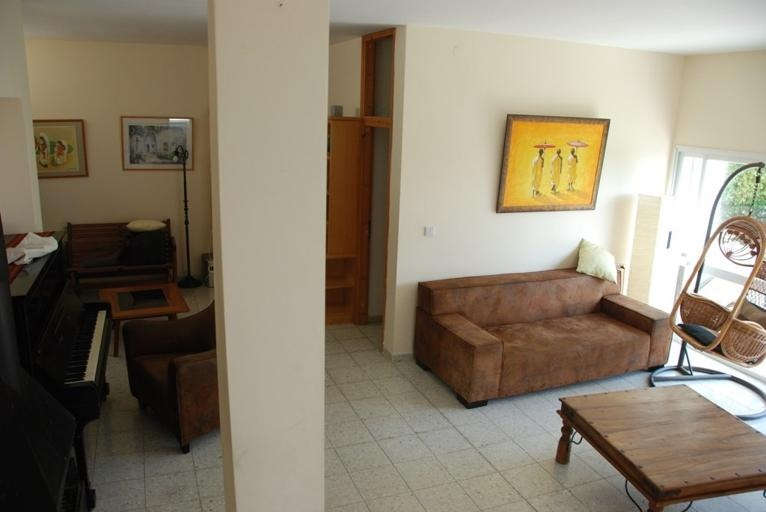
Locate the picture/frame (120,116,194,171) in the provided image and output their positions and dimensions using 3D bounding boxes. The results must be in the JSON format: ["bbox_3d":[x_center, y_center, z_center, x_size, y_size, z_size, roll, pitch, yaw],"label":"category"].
[{"bbox_3d":[-2.915,-1.473,7.013,0.682,0.521,0.025,-12,25,-37],"label":"picture/frame"}]

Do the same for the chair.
[{"bbox_3d":[-1.794,1.082,4.844,0.749,0.993,0.869,-9,19,-28],"label":"chair"}]

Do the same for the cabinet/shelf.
[{"bbox_3d":[-0.471,-0.386,6.578,0.453,2.464,0.373,-1,18,-4],"label":"cabinet/shelf"}]

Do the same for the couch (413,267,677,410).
[{"bbox_3d":[1.661,0.786,5.929,2.467,0.987,1.038,-5,17,-18],"label":"couch"}]

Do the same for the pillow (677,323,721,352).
[{"bbox_3d":[3.117,0.766,5.404,0.228,0.093,0.449,-3,16,-10],"label":"pillow"}]
